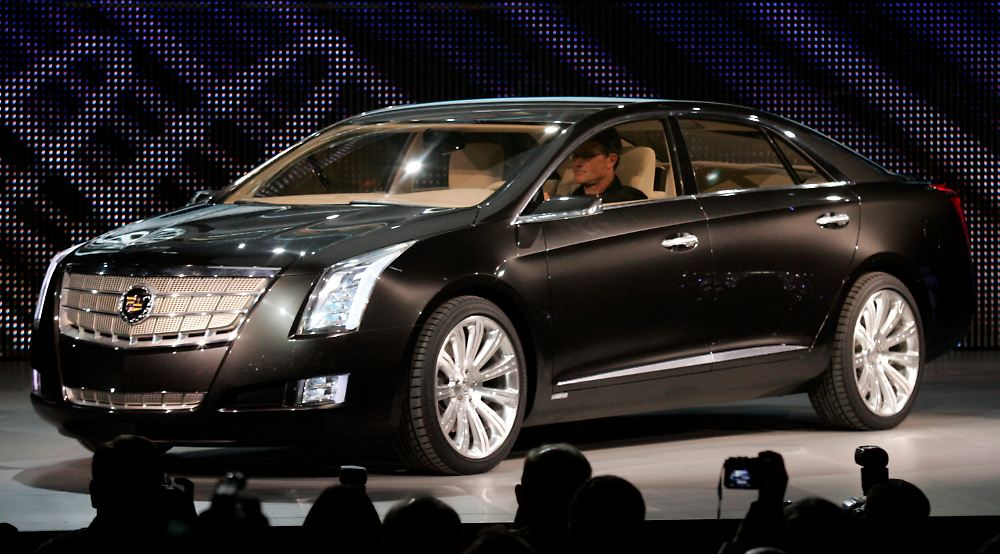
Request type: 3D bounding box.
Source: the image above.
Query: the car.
[{"bbox_3d":[0.654,-0.088,6.051,6.916,1.967,2.996,1,-3,-34],"label":"car"}]

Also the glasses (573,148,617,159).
[{"bbox_3d":[0.730,-0.942,5.747,0.172,0.043,0.158,2,-3,-24],"label":"glasses"}]

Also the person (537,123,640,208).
[{"bbox_3d":[0.833,-0.874,5.913,0.504,0.502,0.789,9,5,13],"label":"person"}]
